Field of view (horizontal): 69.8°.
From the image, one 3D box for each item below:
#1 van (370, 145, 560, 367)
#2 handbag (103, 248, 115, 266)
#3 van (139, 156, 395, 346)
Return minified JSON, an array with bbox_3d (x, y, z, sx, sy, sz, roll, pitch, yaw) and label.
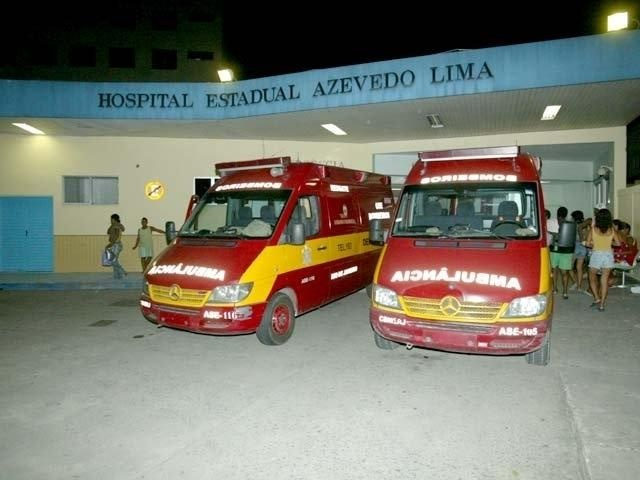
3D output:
[{"bbox_3d":[2.704,0.120,7.784,2.056,2.331,4.340,0,1,27],"label":"van"},{"bbox_3d":[-6.804,0.534,14.651,0.398,0.475,0.168,1,7,9],"label":"handbag"},{"bbox_3d":[-0.641,-0.119,10.005,3.104,3.129,6.892,4,8,31],"label":"van"}]
